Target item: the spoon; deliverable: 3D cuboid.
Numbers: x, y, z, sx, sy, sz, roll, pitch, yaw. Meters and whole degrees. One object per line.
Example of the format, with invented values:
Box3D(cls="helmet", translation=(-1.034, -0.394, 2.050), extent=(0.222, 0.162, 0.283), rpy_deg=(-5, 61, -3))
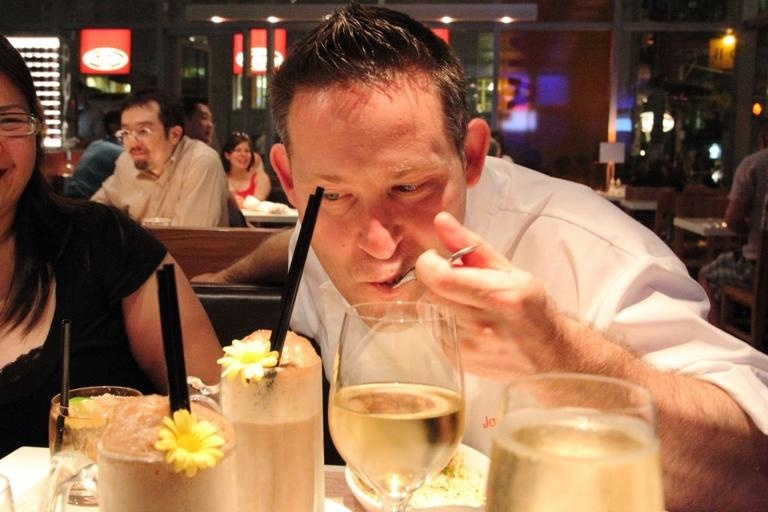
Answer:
Box3D(cls="spoon", translation=(0.115, 0.017, 1.486), extent=(0.038, 0.146, 0.045), rpy_deg=(53, 11, 26))
